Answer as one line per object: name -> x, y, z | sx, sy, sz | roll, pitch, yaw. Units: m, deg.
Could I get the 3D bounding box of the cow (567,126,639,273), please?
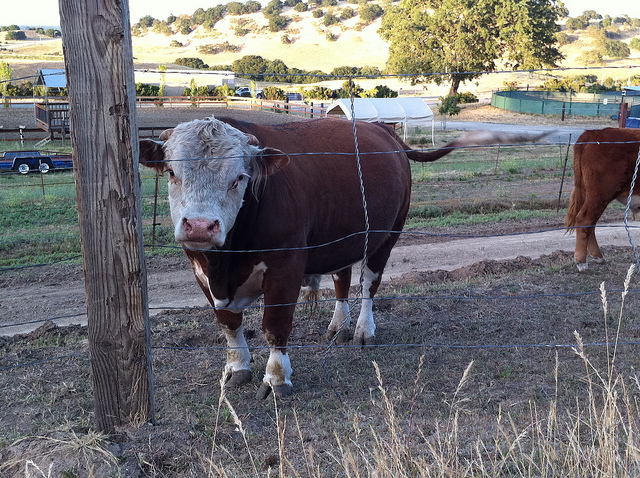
cow -> 4.814, -0.708, 12.502 | 1.055, 2.298, 3.071 | 3, 15, 18

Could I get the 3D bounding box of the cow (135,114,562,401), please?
cow -> 0.436, -0.132, 10.496 | 1.676, 3.426, 7.500 | 10, 16, 37
